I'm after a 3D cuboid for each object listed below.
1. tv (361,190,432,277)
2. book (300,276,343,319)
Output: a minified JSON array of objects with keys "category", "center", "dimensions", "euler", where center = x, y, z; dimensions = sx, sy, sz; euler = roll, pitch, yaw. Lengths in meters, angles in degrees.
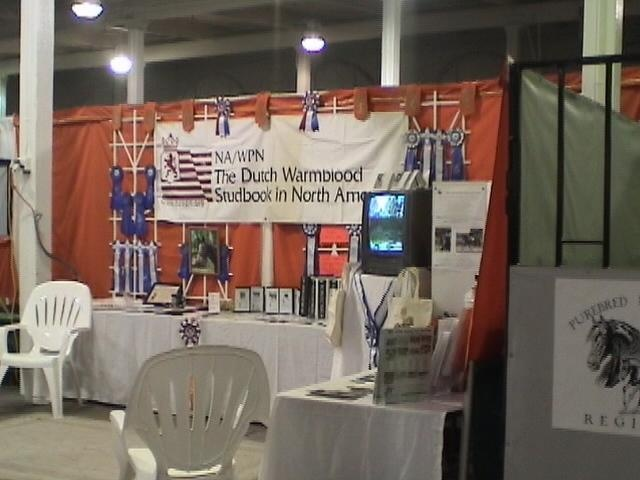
[{"category":"tv","center":[0.633,0.062,7.890],"dimensions":[0.502,0.844,0.610],"euler":[4,-6,-43]},{"category":"book","center":[0.007,0.457,8.935],"dimensions":[0.268,0.452,0.393],"euler":[3,0,15]}]
